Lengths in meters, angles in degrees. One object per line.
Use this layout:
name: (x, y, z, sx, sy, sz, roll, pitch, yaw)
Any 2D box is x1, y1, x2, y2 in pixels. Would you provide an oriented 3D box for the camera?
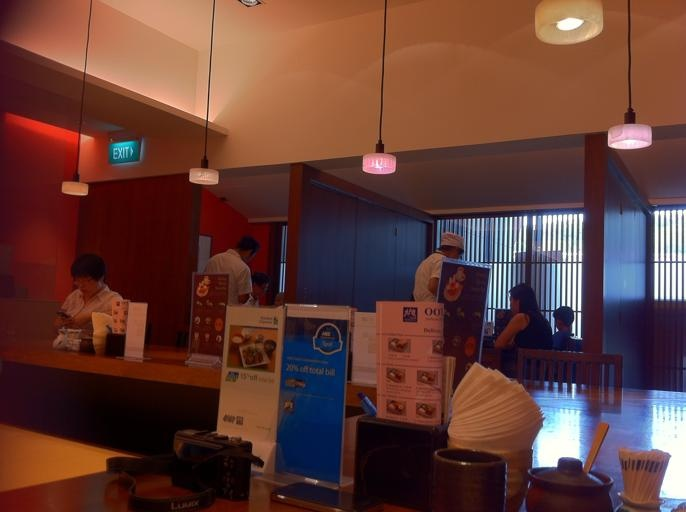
camera: (-0.307, 0.477, 1.323, 0.195, 0.136, 0.069, 1, -7, 24)

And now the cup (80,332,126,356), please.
cup: (-1.086, 0.401, 2.626, 0.269, 0.107, 0.047, 1, -4, 30)

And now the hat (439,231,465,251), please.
hat: (0.708, -0.092, 3.615, 0.141, 0.089, 0.099, 7, -4, -40)

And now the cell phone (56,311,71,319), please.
cell phone: (-1.417, 0.303, 2.943, 0.062, 0.053, 0.017, 12, 12, 30)
